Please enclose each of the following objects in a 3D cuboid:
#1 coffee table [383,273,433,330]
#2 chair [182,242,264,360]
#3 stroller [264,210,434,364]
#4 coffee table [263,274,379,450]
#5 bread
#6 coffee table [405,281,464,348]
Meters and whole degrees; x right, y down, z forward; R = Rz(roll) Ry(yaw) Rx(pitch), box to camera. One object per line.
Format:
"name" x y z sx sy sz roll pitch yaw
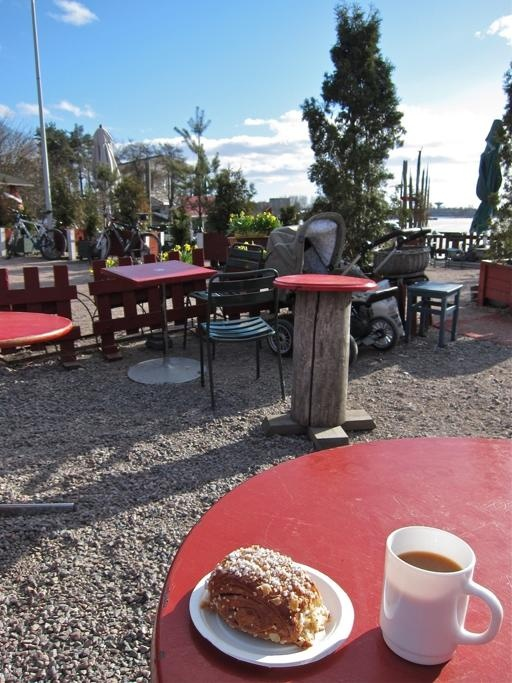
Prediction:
"coffee table" 1.875 -0.504 5.906 0.498 0.711 0.567 -12 29 -10
"chair" -0.272 -0.656 5.548 0.986 1.490 0.955 -9 17 -34
"stroller" 0.744 -0.632 5.376 1.540 1.502 1.330 -6 14 -34
"coffee table" 0.375 0.115 3.183 0.695 0.991 0.578 3 15 12
"bread" 0.012 0.283 0.600 0.102 0.036 0.074 7 10 34
"coffee table" 1.908 -0.364 5.697 0.761 0.802 0.672 -6 10 -39
